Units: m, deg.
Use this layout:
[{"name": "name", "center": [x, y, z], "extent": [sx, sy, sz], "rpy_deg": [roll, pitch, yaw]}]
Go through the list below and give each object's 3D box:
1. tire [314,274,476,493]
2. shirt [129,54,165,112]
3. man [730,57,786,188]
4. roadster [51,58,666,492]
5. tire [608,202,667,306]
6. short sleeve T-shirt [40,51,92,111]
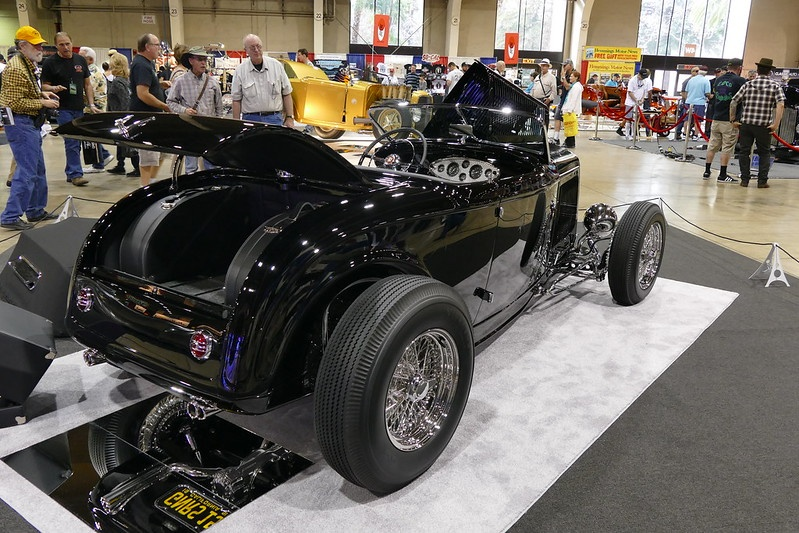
[{"name": "tire", "center": [-0.021, 0.538, 2.157], "extent": [0.801, 0.910, 0.323], "rpy_deg": [-16, 26, -37]}, {"name": "shirt", "center": [-3.353, -2.394, 5.979], "extent": [0.369, 0.685, 0.585], "rpy_deg": [1, 23, -33]}, {"name": "man", "center": [6.702, -2.680, 8.590], "extent": [0.953, 2.294, 0.512], "rpy_deg": [10, 22, 23]}, {"name": "roadster", "center": [-0.109, -0.267, 2.898], "extent": [3.397, 2.019, 1.903], "rpy_deg": [-17, 27, -38]}, {"name": "tire", "center": [2.037, -0.133, 3.916], "extent": [0.233, 0.839, 0.829], "rpy_deg": [9, 46, 32]}, {"name": "short sleeve T-shirt", "center": [-4.872, -2.772, 6.719], "extent": [0.615, 0.725, 0.342], "rpy_deg": [-20, 37, -40]}]
